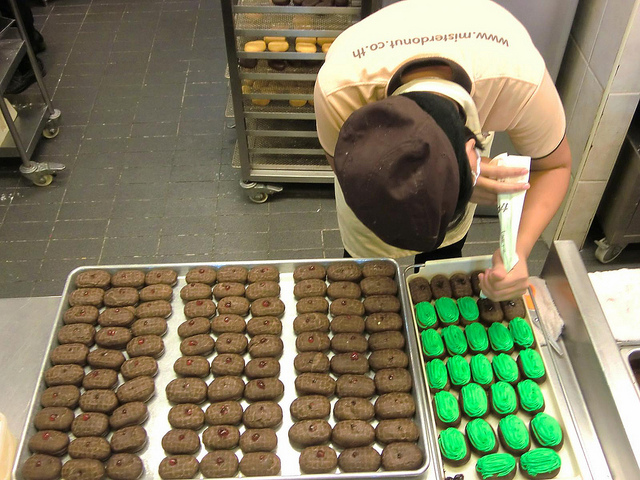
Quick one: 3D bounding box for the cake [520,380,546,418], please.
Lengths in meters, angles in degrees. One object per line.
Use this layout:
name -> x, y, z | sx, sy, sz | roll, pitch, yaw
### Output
cake -> 0.700, 0.509, 1.599 | 0.080, 0.035, 0.104 | -4, 48, 9

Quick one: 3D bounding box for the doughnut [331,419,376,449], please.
doughnut -> 0.108, 0.596, 1.535 | 0.139, 0.053, 0.085 | -4, 50, -2

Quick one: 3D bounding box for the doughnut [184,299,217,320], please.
doughnut -> -0.432, 0.252, 1.809 | 0.113, 0.051, 0.079 | -4, 50, -2

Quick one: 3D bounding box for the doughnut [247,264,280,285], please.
doughnut -> -0.207, 0.127, 1.871 | 0.088, 0.024, 0.081 | -4, 39, 5

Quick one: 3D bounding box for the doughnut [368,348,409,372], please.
doughnut -> 0.235, 0.390, 1.640 | 0.127, 0.038, 0.064 | -2, 56, 4

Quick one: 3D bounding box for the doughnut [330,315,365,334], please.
doughnut -> 0.101, 0.293, 1.747 | 0.122, 0.041, 0.069 | 0, 50, 1

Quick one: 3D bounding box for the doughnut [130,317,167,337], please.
doughnut -> -0.601, 0.302, 1.751 | 0.117, 0.033, 0.060 | 0, 56, -2

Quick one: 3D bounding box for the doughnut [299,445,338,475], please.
doughnut -> -0.001, 0.652, 1.478 | 0.098, 0.041, 0.081 | -2, 44, -1

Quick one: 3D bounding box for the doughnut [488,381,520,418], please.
doughnut -> 0.605, 0.514, 1.606 | 0.086, 0.036, 0.105 | -7, 50, 9

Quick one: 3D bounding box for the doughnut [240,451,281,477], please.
doughnut -> -0.178, 0.664, 1.483 | 0.120, 0.032, 0.071 | -1, 49, 1

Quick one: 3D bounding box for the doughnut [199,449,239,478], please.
doughnut -> -0.301, 0.667, 1.490 | 0.118, 0.020, 0.081 | 1, 49, 2

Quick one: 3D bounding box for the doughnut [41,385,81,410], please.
doughnut -> -0.844, 0.509, 1.629 | 0.121, 0.044, 0.077 | 2, 50, 3

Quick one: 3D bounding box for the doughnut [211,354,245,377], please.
doughnut -> -0.309, 0.418, 1.667 | 0.088, 0.039, 0.086 | 11, 35, 12

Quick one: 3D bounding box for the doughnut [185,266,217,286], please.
doughnut -> -0.447, 0.136, 1.889 | 0.117, 0.039, 0.081 | -3, 50, -2

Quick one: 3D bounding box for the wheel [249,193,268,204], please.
wheel -> -0.404, -0.288, 3.369 | 0.090, 0.027, 0.077 | -1, 57, -1

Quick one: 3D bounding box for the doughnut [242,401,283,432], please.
doughnut -> -0.174, 0.548, 1.566 | 0.118, 0.049, 0.076 | 2, 62, 0

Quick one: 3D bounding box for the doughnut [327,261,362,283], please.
doughnut -> 0.095, 0.117, 1.848 | 0.111, 0.044, 0.072 | 4, 46, 4

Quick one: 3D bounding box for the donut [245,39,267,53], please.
donut -> -0.357, -1.120, 2.875 | 0.127, 0.031, 0.075 | -6, 93, 3

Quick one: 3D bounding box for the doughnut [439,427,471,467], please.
doughnut -> 0.418, 0.628, 1.514 | 0.097, 0.035, 0.103 | -5, 54, 1

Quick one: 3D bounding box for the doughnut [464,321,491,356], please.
doughnut -> 0.559, 0.343, 1.742 | 0.073, 0.037, 0.110 | -4, 48, 7

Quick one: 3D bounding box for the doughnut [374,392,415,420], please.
doughnut -> 0.242, 0.524, 1.575 | 0.126, 0.047, 0.085 | 2, 50, 4

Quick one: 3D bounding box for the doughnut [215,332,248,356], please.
doughnut -> -0.306, 0.358, 1.730 | 0.115, 0.043, 0.077 | 2, 50, 3

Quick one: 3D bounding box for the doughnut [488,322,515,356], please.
doughnut -> 0.642, 0.342, 1.736 | 0.071, 0.035, 0.102 | -9, 52, 8

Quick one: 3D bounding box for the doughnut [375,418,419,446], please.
doughnut -> 0.242, 0.576, 1.518 | 0.129, 0.053, 0.064 | -4, 57, 7

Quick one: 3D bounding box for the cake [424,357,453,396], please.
cake -> 0.404, 0.445, 1.679 | 0.083, 0.039, 0.118 | -12, 41, 8

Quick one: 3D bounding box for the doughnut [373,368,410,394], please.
doughnut -> 0.243, 0.457, 1.625 | 0.117, 0.043, 0.081 | -1, 50, 1

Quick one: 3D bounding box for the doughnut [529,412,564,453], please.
doughnut -> 0.717, 0.592, 1.549 | 0.099, 0.038, 0.118 | -12, 35, 1

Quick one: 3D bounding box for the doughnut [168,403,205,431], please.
doughnut -> -0.418, 0.559, 1.577 | 0.107, 0.041, 0.072 | 5, 56, -6

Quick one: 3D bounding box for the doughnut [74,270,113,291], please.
doughnut -> -0.848, 0.146, 1.870 | 0.093, 0.025, 0.087 | 9, 37, 4

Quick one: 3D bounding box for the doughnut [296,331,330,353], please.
doughnut -> -0.019, 0.350, 1.717 | 0.116, 0.050, 0.071 | 2, 50, 3
